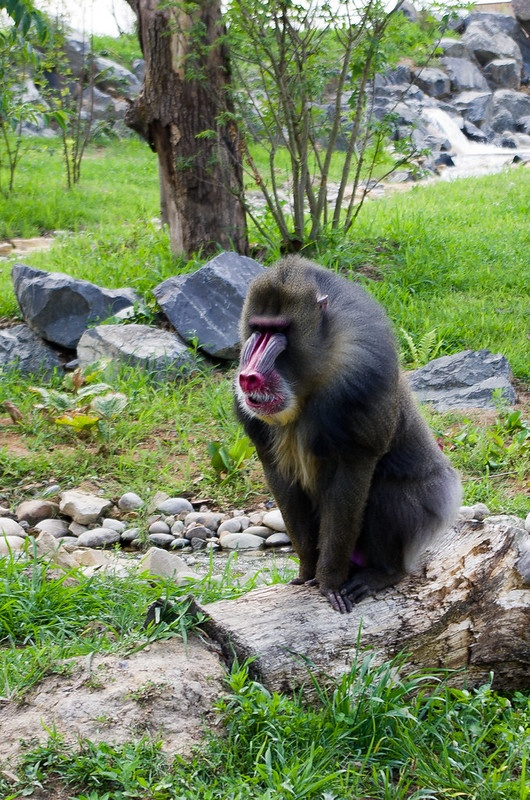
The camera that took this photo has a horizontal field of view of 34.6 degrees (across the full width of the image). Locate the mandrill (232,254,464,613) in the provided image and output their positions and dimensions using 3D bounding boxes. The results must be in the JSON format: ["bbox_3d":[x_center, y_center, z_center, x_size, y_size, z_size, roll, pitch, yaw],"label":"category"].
[{"bbox_3d":[0.286,0.085,2.787,0.781,1.100,0.549,1,9,-8],"label":"mandrill"}]
